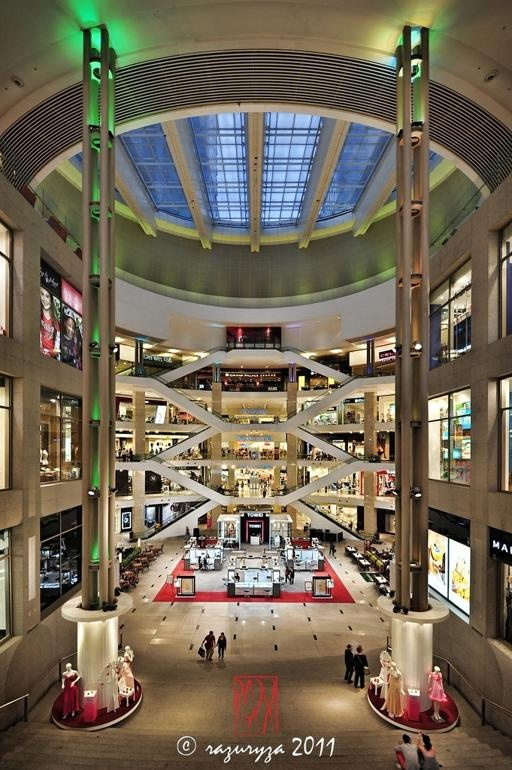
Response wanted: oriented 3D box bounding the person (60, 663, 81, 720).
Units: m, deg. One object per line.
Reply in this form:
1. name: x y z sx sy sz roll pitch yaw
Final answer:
1. person: -3.387 5.563 10.258 0.303 0.888 0.411 2 -7 -18

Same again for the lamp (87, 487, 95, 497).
1. lamp: -3.184 2.090 10.785 0.147 0.168 0.092 -1 2 -30

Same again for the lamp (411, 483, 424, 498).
1. lamp: 3.079 2.072 10.840 0.247 0.189 0.297 -1 6 6

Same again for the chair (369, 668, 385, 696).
1. chair: 2.473 5.984 11.178 0.290 0.458 0.437 2 -5 -17

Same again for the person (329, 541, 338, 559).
1. person: 3.606 7.776 26.215 0.378 1.088 0.358 -1 15 3

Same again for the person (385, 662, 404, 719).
1. person: 2.529 5.642 10.345 0.376 0.855 0.437 -2 -7 15

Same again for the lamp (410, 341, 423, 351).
1. lamp: 3.084 -0.722 10.723 0.132 0.206 0.207 -1 2 -1

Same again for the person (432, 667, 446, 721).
1. person: 3.306 5.647 10.252 0.235 0.811 0.626 -3 -7 18

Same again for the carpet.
1. carpet: -0.066 7.190 20.820 6.718 0.732 5.183 -1 -8 1

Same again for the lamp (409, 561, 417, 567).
1. lamp: 3.009 3.458 10.703 0.154 0.083 0.312 -3 -8 14
